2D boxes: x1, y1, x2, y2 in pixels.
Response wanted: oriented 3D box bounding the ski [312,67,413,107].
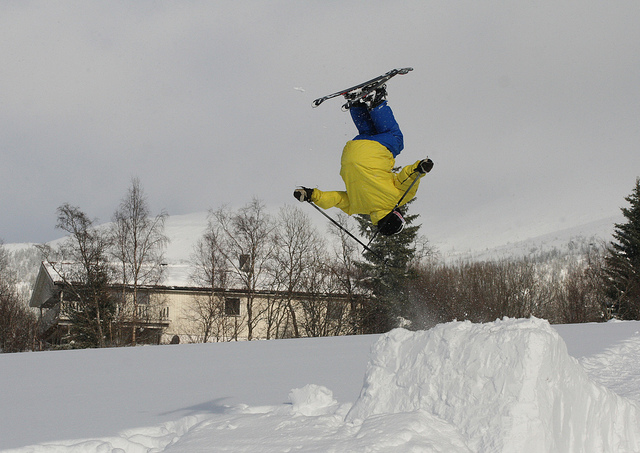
[{"bbox_3d":[0.733,-2.919,15.172,0.150,0.213,1.699,26,39,35],"label":"ski"}]
